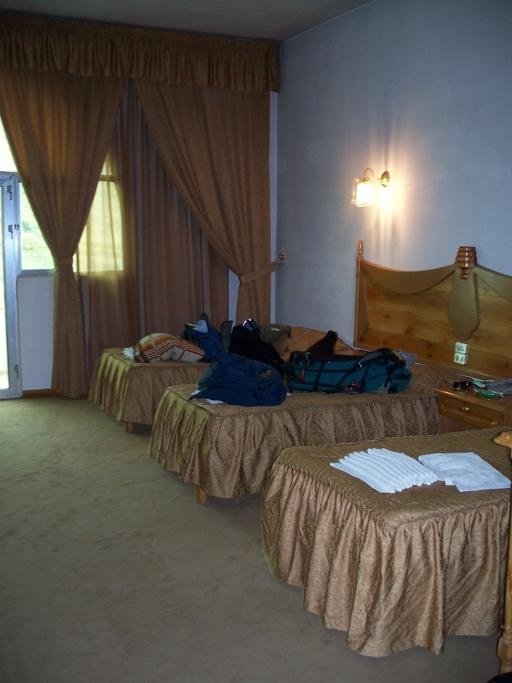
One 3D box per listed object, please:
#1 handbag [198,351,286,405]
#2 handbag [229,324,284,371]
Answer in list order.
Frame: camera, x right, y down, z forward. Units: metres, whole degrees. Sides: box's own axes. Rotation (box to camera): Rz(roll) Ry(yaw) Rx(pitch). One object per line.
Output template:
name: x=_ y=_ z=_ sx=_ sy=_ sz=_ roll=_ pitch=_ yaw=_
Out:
handbag: x=-0.069 y=0.217 z=3.001 sx=0.321 sy=0.112 sz=0.322 roll=7 pitch=5 yaw=21
handbag: x=-0.007 y=0.036 z=4.109 sx=0.382 sy=0.161 sz=0.283 roll=27 pitch=14 yaw=21
